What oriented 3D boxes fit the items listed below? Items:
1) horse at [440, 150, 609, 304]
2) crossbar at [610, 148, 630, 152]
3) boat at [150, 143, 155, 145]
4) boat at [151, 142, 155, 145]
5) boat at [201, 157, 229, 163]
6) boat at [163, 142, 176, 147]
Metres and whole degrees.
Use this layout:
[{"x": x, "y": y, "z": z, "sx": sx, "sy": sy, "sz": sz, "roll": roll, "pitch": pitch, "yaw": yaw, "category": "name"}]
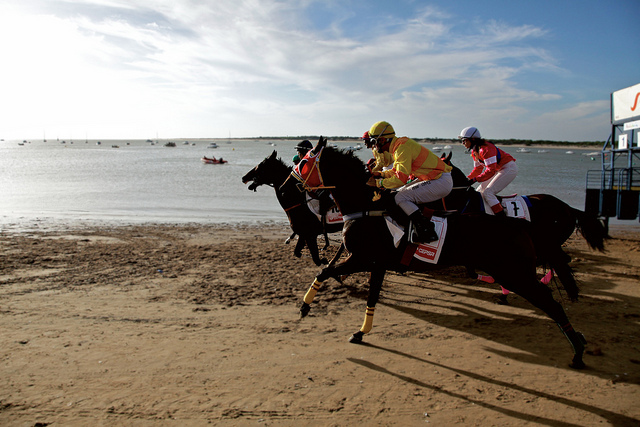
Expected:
[{"x": 4.638, "y": 0.316, "z": 12.276, "sx": 1.064, "sy": 2.623, "sz": 4.685, "roll": 4, "pitch": 1, "yaw": -39, "category": "horse"}, {"x": 10.814, "y": -2.284, "z": 18.458, "sx": 0.401, "sy": 0.137, "sz": 0.879, "roll": 1, "pitch": 7, "yaw": 4, "category": "crossbar"}, {"x": -70.147, "y": -29.112, "z": 214.569, "sx": 2.498, "sy": 0.911, "sz": 2.239, "roll": -1, "pitch": 5, "yaw": -18, "category": "boat"}, {"x": -70.133, "y": -29.146, "z": 214.469, "sx": 2.685, "sy": 0.979, "sz": 2.376, "roll": 0, "pitch": 1, "yaw": -6, "category": "boat"}, {"x": -14.527, "y": -7.042, "z": 68.927, "sx": 4.863, "sy": 0.534, "sz": 1.084, "roll": 4, "pitch": 13, "yaw": 22, "category": "boat"}, {"x": -44.963, "y": -20.540, "z": 152.920, "sx": 2.941, "sy": 1.269, "sz": 3.681, "roll": -4, "pitch": 10, "yaw": -34, "category": "boat"}]
